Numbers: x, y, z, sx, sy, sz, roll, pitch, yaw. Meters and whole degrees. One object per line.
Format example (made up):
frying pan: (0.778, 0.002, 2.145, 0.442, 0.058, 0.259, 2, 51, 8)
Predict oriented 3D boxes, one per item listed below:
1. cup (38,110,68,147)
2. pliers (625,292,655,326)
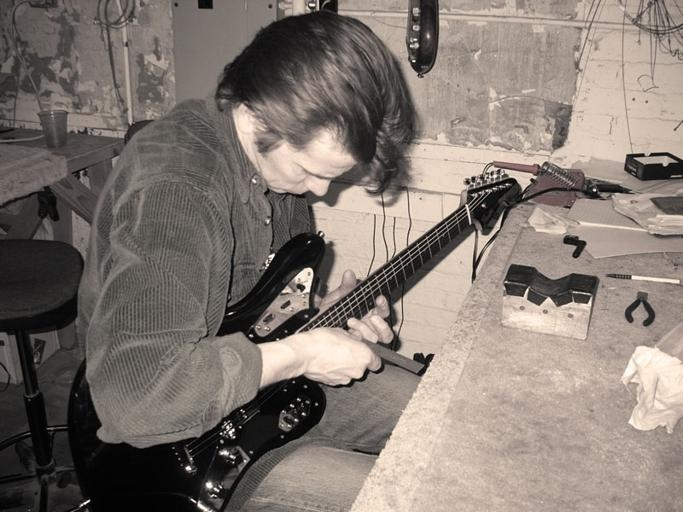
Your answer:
cup: (-1.262, -0.563, 2.658, 0.149, 0.163, 0.152, 4, 14, -1)
pliers: (0.825, 0.140, 1.640, 0.076, 0.014, 0.139, 7, 36, 29)
